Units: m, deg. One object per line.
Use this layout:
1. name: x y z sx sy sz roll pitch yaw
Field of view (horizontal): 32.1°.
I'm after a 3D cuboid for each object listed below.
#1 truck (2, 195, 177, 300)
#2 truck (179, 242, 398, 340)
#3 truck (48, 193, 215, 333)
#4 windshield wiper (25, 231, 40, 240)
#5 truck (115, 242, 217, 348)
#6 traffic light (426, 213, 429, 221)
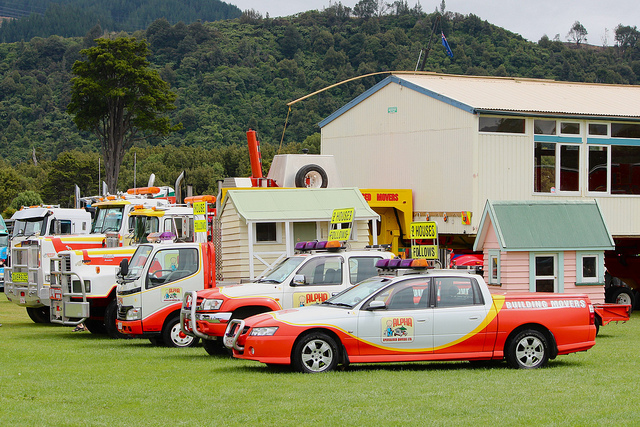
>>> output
1. truck: -8.383 1.161 39.365 4.904 2.858 3.304 -2 0 -26
2. truck: -0.831 2.691 33.286 5.894 2.802 2.974 -2 0 -21
3. truck: -6.036 1.599 37.329 5.673 3.689 4.139 -2 2 -27
4. windshield wiper: -11.429 0.891 44.094 0.580 0.083 0.069 -26 29 -24
5. truck: -4.900 2.515 35.827 3.302 3.560 2.413 2 -6 -32
6. traffic light: 4.199 0.126 43.107 0.109 0.255 0.166 -1 -5 1
